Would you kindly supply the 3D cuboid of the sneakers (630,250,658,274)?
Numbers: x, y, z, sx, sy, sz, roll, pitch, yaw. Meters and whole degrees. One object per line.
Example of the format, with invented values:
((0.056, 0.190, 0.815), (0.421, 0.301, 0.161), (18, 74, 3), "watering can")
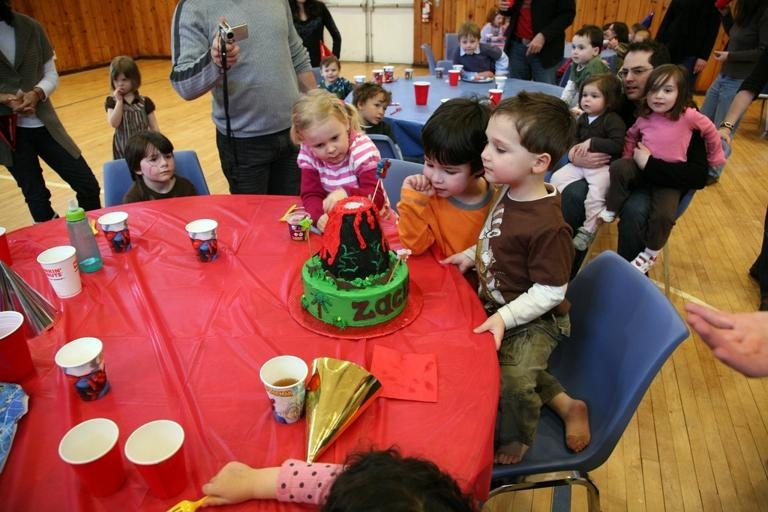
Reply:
((1.578, 0.031, 3.179), (0.053, 0.065, 0.146), (27, 68, 38), "sneakers")

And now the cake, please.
((-0.155, 0.043, 2.109), (0.456, 0.471, 0.459), (-6, 36, -9), "cake")

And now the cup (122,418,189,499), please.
((-0.673, 0.615, 1.574), (0.156, 0.179, 0.168), (0, 28, 0), "cup")

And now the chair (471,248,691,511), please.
((0.781, 0.541, 2.139), (0.746, 1.046, 0.588), (-6, 41, -6), "chair")

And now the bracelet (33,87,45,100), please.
((-2.330, -1.110, 3.565), (0.031, 0.084, 0.060), (-39, 61, -20), "bracelet")

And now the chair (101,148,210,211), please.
((-1.424, -0.426, 3.349), (0.452, 0.638, 0.491), (-11, 20, -20), "chair")

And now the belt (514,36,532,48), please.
((1.466, -2.275, 5.521), (0.122, 0.130, 0.038), (28, 88, 41), "belt")

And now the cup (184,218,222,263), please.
((-0.770, -0.066, 2.327), (0.158, 0.174, 0.167), (-1, 34, 0), "cup")

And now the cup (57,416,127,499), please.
((-0.868, 0.613, 1.575), (0.160, 0.175, 0.161), (0, 28, 0), "cup")

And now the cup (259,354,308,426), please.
((-0.307, 0.422, 1.766), (0.187, 0.205, 0.194), (0, 36, 0), "cup")

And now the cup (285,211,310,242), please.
((-0.387, -0.149, 2.397), (0.113, 0.098, 0.119), (2, 39, -1), "cup")

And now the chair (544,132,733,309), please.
((1.647, -0.492, 3.809), (1.122, 1.494, 1.058), (15, 43, 28), "chair")
